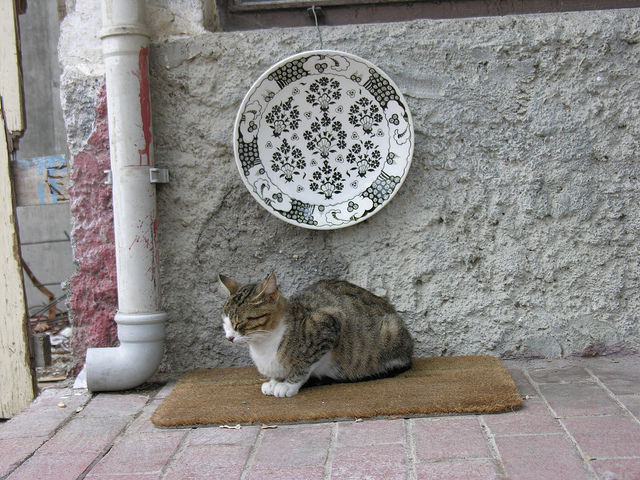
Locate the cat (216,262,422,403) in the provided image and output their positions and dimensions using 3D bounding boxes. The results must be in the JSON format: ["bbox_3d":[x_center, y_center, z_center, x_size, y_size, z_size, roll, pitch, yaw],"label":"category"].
[{"bbox_3d":[-0.032,0.454,4.246,1.228,0.730,0.566,-11,6,-40],"label":"cat"}]

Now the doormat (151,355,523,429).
[{"bbox_3d":[0.088,0.797,4.018,1.841,0.162,0.657,0,10,2],"label":"doormat"}]
